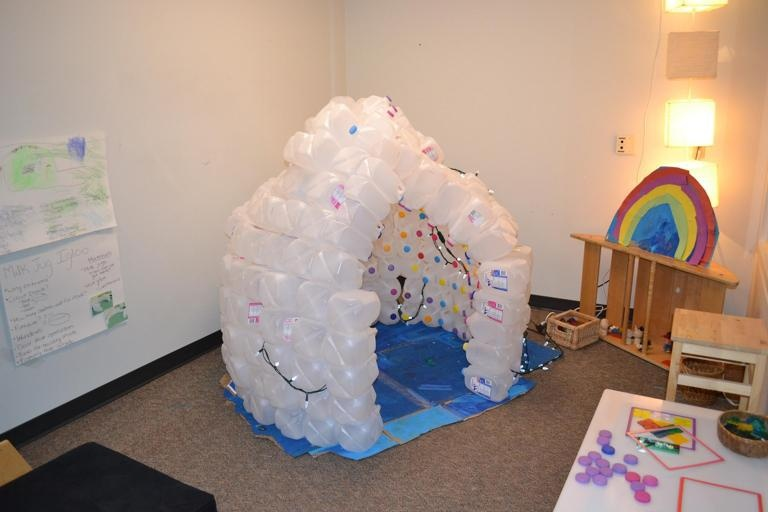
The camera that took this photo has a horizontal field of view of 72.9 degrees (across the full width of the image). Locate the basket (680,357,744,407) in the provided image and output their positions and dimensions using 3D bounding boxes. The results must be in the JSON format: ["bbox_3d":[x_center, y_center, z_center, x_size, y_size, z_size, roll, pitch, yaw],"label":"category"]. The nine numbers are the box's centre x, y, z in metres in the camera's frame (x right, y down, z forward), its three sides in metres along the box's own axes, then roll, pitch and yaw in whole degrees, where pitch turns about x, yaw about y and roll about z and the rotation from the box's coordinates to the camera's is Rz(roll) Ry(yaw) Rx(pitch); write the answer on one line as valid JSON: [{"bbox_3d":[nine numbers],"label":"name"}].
[{"bbox_3d":[2.739,1.036,4.373,0.454,0.226,0.576,-7,17,0],"label":"basket"}]

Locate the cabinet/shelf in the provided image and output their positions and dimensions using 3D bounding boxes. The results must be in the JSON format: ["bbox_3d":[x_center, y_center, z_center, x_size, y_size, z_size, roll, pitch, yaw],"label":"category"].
[{"bbox_3d":[2.506,0.433,4.746,0.413,0.699,1.066,-14,26,-35],"label":"cabinet/shelf"}]

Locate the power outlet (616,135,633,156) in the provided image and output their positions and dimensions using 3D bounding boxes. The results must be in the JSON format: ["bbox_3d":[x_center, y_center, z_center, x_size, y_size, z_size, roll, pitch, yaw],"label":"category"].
[{"bbox_3d":[2.480,-1.135,5.330,0.181,0.177,0.046,6,11,19],"label":"power outlet"}]

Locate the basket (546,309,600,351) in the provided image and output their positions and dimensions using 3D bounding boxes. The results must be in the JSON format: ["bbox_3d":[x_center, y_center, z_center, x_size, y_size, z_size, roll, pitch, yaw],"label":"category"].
[{"bbox_3d":[1.925,0.742,5.244,0.399,0.248,0.389,-13,16,-37],"label":"basket"}]
